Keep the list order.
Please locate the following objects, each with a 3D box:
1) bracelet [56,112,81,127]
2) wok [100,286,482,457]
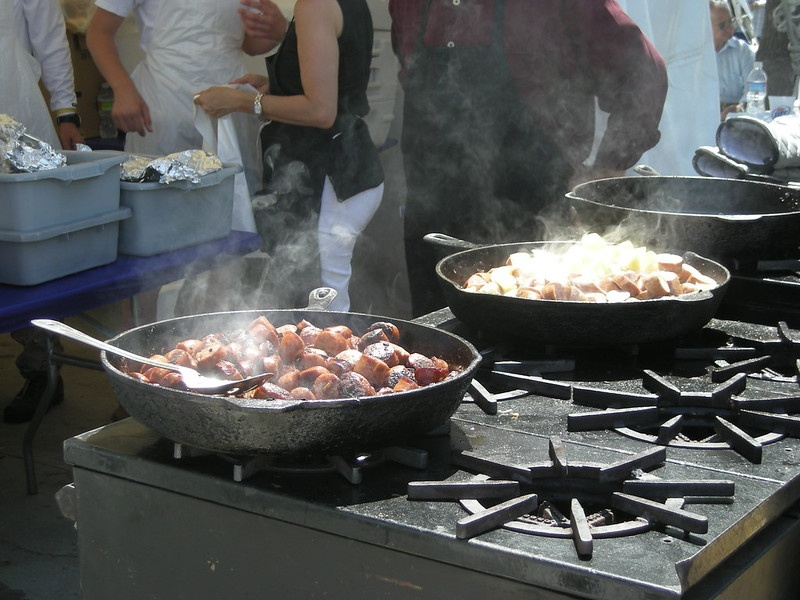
[{"bbox_3d":[-1.547,-0.827,3.841,0.084,0.053,0.086,-4,16,-20],"label":"bracelet"},{"bbox_3d":[-0.199,0.122,1.459,0.599,0.141,0.701,1,12,-10],"label":"wok"}]
